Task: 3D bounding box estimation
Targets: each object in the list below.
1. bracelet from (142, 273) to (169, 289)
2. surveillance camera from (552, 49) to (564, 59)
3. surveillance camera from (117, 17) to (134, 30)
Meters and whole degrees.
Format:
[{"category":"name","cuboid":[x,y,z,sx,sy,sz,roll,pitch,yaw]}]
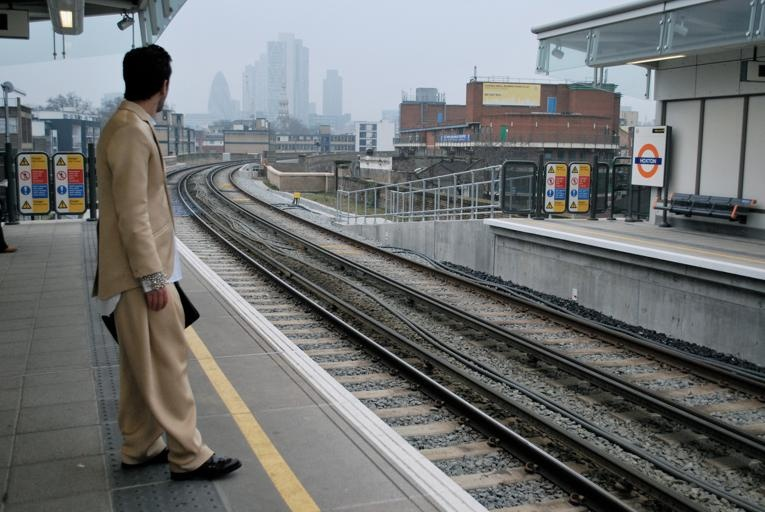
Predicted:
[{"category":"bracelet","cuboid":[-1.668,0.186,4.495,0.126,0.088,0.126,-11,7,6]},{"category":"surveillance camera","cuboid":[4.212,-4.801,14.580,0.250,0.258,0.162,13,-4,4]},{"category":"surveillance camera","cuboid":[-5.661,-5.093,13.468,0.342,0.322,0.185,-8,14,-37]}]
